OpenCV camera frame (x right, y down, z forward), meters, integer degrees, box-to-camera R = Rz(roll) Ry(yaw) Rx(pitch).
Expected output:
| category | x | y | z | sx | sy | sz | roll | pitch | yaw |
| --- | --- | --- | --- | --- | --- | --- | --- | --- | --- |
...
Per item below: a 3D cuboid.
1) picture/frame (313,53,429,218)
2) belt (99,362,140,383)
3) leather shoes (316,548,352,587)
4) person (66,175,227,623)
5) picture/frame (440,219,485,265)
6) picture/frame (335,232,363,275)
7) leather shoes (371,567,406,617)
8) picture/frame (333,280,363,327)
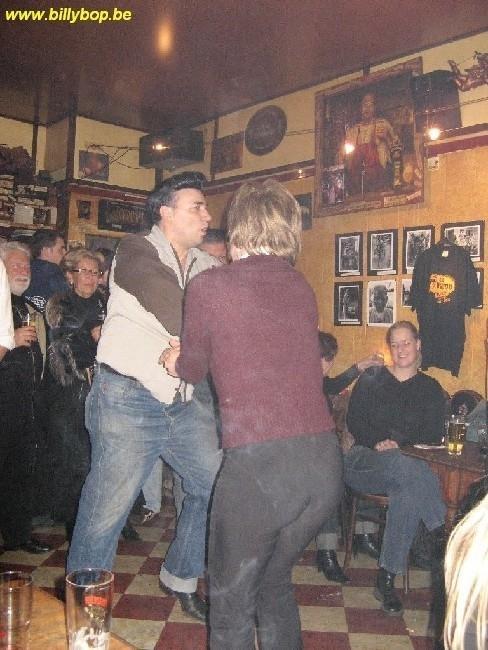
| category | x | y | z | sx | sy | sz | roll | pitch | yaw |
| --- | --- | --- | --- | --- | --- | --- | --- | --- | --- |
| picture/frame | 1.323 | -1.924 | 5.795 | 0.155 | 1.850 | 1.490 | 1 | -3 | -38 |
| belt | -0.458 | 0.169 | 2.055 | 0.171 | 0.052 | 0.031 | 6 | 4 | 21 |
| leather shoes | 0.467 | 1.303 | 3.091 | 0.073 | 0.167 | 0.220 | 3 | -12 | -26 |
| person | -0.303 | 0.310 | 2.154 | 0.572 | 1.777 | 0.540 | 5 | 4 | 1 |
| picture/frame | 1.947 | -0.731 | 5.088 | 0.016 | 0.407 | 0.342 | 2 | -9 | -37 |
| picture/frame | 1.138 | -0.780 | 6.154 | 0.041 | 0.665 | 0.426 | 0 | -1 | -43 |
| leather shoes | 0.690 | 1.284 | 2.706 | 0.072 | 0.180 | 0.239 | 8 | -12 | 0 |
| picture/frame | 1.132 | -0.235 | 6.155 | 0.039 | 0.626 | 0.418 | 5 | -6 | -36 |
